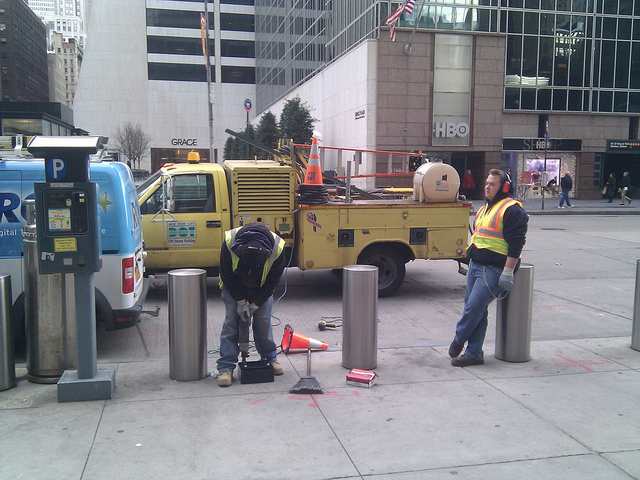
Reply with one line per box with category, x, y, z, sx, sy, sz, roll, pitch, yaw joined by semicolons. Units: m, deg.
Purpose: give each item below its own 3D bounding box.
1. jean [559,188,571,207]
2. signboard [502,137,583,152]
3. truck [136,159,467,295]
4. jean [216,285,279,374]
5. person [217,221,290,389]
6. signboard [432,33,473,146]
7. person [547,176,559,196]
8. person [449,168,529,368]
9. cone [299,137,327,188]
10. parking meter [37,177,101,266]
jean;11.995;-2.104;31.077;0.433;1.005;1.520;4;12;21
signboard;12.632;-5.388;35.998;5.488;0.873;0.482;-5;12;-25
truck;-0.342;-0.488;11.938;4.674;2.019;2.775;0;5;-9
jean;-0.908;1.086;7.827;0.737;1.042;0.307;-2;11;-8
person;-0.844;0.772;7.699;0.818;1.913;0.561;-1;11;-4
signboard;6.990;-8.080;33.726;1.618;6.959;0.749;-2;7;-11
person;13.896;-3.238;37.769;0.766;1.312;0.508;-18;25;-29
person;2.183;0.406;8.216;0.884;2.532;0.876;4;12;18
cone;-0.138;-1.366;11.232;0.463;0.834;0.538;0;11;-2
parking meter;-2.868;-0.199;7.245;0.630;0.984;0.297;-1;11;-5
